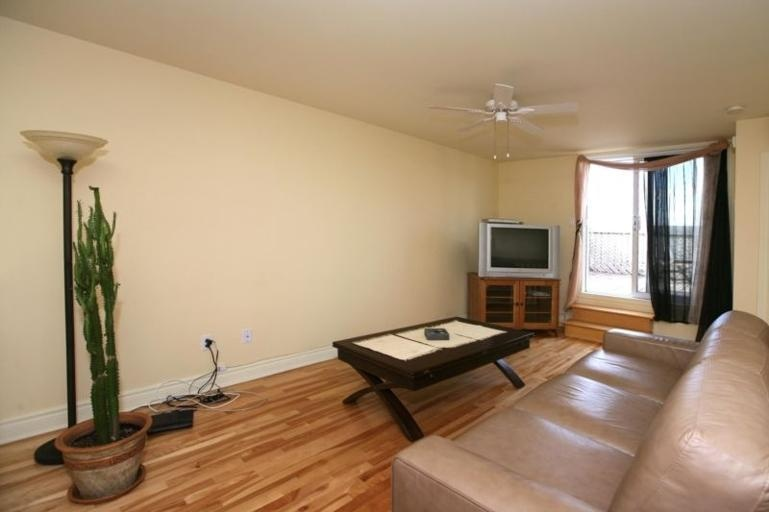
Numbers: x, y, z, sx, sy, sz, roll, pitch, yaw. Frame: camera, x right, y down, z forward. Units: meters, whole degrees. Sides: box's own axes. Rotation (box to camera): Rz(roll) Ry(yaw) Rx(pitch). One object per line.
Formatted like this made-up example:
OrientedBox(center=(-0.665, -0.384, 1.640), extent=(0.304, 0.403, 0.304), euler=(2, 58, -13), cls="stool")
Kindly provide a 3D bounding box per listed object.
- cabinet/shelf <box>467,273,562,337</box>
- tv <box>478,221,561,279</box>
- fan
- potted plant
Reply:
OrientedBox(center=(1.783, 0.624, 6.910), extent=(1.492, 0.941, 0.745), euler=(0, -2, 4), cls="cabinet/shelf")
OrientedBox(center=(1.783, -0.062, 6.844), extent=(1.253, 0.853, 0.728), euler=(1, -2, 2), cls="tv")
OrientedBox(center=(1.049, -1.217, 4.637), extent=(0.978, 0.422, 1.004), euler=(13, 7, 22), cls="fan")
OrientedBox(center=(-2.088, 0.595, 3.680), extent=(0.583, 2.179, 0.782), euler=(-4, 4, -28), cls="potted plant")
